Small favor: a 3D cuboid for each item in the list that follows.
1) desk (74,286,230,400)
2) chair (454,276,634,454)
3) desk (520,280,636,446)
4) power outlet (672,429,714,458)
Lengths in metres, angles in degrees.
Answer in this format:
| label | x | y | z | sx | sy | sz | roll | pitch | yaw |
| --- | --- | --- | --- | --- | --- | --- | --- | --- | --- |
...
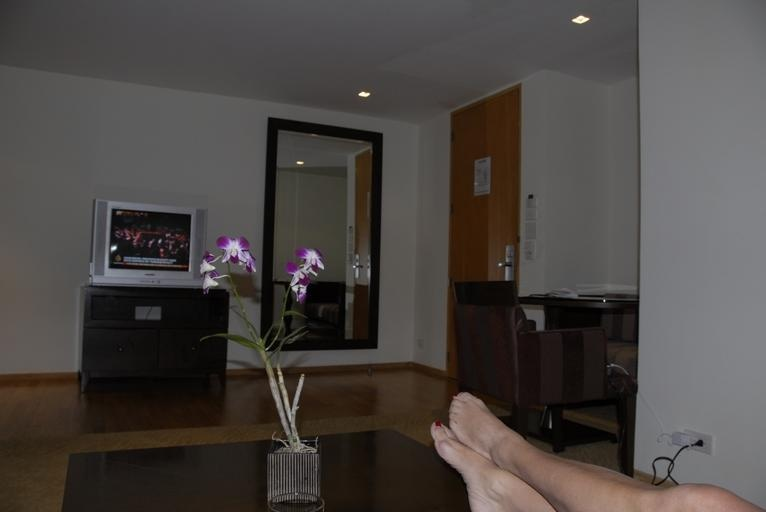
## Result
| label | x | y | z | sx | sy | sz | roll | pitch | yaw |
| --- | --- | --- | --- | --- | --- | --- | --- | --- | --- |
| desk | -2.082 | 0.732 | 5.277 | 1.253 | 0.914 | 0.719 | 2 | 6 | -19 |
| chair | 1.073 | 0.709 | 4.346 | 1.176 | 1.462 | 1.049 | -1 | 0 | -22 |
| desk | 1.674 | 0.769 | 4.412 | 1.096 | 1.081 | 1.093 | 3 | -5 | -24 |
| power outlet | 1.978 | 1.163 | 3.562 | 0.115 | 0.134 | 0.201 | 1 | 0 | -41 |
